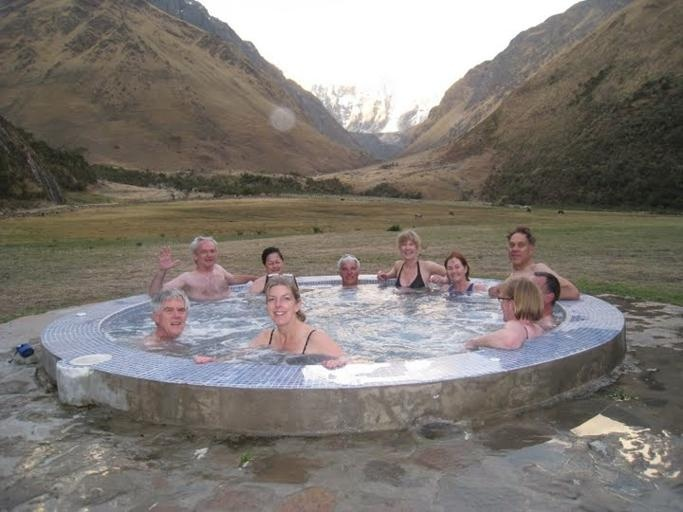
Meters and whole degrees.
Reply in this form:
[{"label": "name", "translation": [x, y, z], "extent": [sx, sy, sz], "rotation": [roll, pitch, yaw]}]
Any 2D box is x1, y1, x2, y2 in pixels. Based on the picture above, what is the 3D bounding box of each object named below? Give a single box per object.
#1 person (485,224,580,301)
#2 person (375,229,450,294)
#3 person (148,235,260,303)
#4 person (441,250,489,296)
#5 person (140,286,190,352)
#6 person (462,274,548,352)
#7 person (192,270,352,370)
[{"label": "person", "translation": [2.837, 0.097, 7.591], "extent": [0.726, 1.078, 1.635], "rotation": [4, -5, -22]}, {"label": "person", "translation": [1.344, 0.086, 9.241], "extent": [0.647, 1.033, 1.732], "rotation": [-2, -2, -44]}, {"label": "person", "translation": [-2.292, 0.214, 8.691], "extent": [0.702, 1.057, 2.491], "rotation": [4, 5, 31]}, {"label": "person", "translation": [2.039, 0.317, 8.609], "extent": [1.013, 0.684, 0.429], "rotation": [0, 9, 35]}, {"label": "person", "translation": [-2.160, 0.726, 6.103], "extent": [0.536, 0.751, 0.550], "rotation": [-5, 10, -25]}, {"label": "person", "translation": [1.753, 0.600, 5.370], "extent": [1.163, 0.758, 0.734], "rotation": [-7, 12, -42]}, {"label": "person", "translation": [-0.662, 0.725, 5.385], "extent": [1.945, 0.872, 0.798], "rotation": [-4, -4, 35]}]
